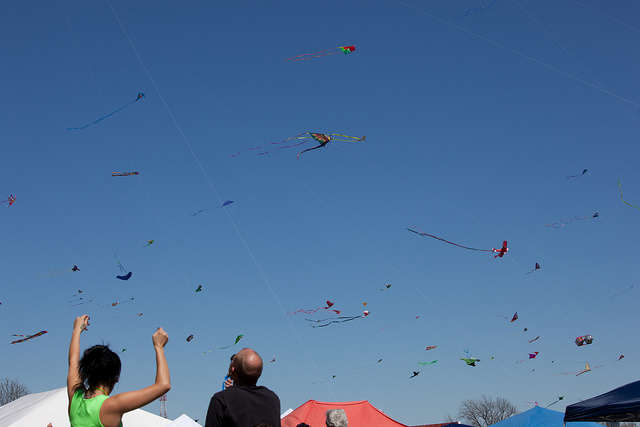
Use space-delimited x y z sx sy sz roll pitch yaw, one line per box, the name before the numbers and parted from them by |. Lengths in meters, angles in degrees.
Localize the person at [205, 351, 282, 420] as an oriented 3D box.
person | -0.868 1.957 5.834 0.713 0.676 0.466 -16 -42 -1
